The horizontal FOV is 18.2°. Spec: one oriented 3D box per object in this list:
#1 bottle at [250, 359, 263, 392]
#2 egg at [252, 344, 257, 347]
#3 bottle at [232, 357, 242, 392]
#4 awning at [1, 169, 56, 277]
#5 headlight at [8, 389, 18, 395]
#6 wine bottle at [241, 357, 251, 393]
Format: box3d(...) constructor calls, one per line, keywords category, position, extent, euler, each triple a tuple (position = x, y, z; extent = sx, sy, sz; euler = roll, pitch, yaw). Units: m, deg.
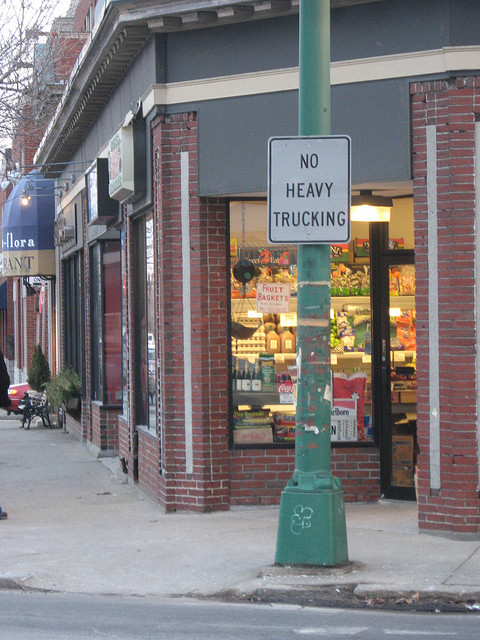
box3d(category="bottle", position=(0.156, 0.516, 14.547), extent=(0.118, 0.301, 0.028), euler=(-1, -2, -18))
box3d(category="egg", position=(0.127, 0.231, 14.542), extent=(0.025, 0.033, 0.015), euler=(1, -2, 0))
box3d(category="bottle", position=(-0.035, 0.511, 14.492), extent=(0.090, 0.332, 0.043), euler=(-2, -2, -8))
box3d(category="awning", position=(-3.748, -1.504, 26.513), extent=(0.966, 1.409, 0.693), euler=(-2, -3, -3))
box3d(category="headlight", position=(-3.953, 1.211, 26.000), extent=(0.103, 0.089, 0.192), euler=(0, -4, -45))
box3d(category="wine bottle", position=(0.047, 0.515, 14.521), extent=(0.095, 0.336, 0.040), euler=(-2, -2, -2))
